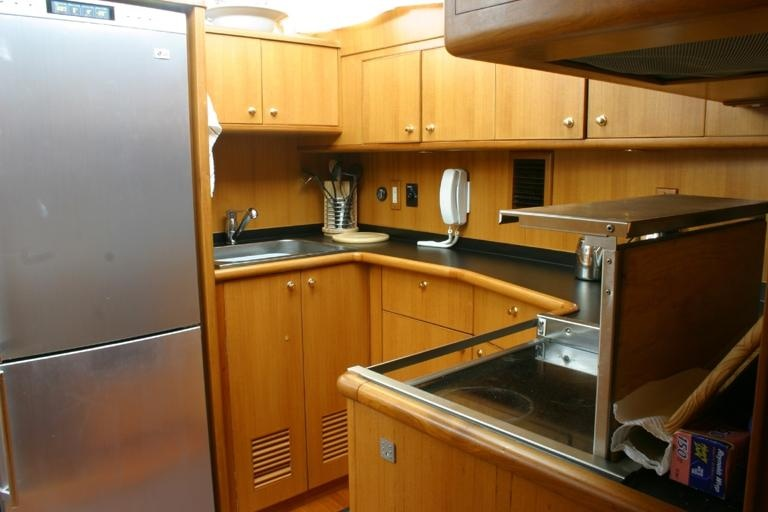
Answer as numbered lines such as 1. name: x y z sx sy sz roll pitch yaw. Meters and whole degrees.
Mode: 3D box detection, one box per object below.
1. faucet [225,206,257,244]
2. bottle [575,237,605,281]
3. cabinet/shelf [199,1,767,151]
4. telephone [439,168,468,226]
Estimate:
1. faucet: -0.847 -0.176 3.398 0.325 0.215 0.072 -16 -18 41
2. bottle: 0.907 0.014 2.517 0.103 0.185 0.180 -7 13 -6
3. cabinet/shelf: 0.314 -0.878 2.851 2.243 0.714 0.665 5 14 23
4. telephone: 0.394 -0.320 3.258 0.139 0.324 0.111 -12 17 -42
